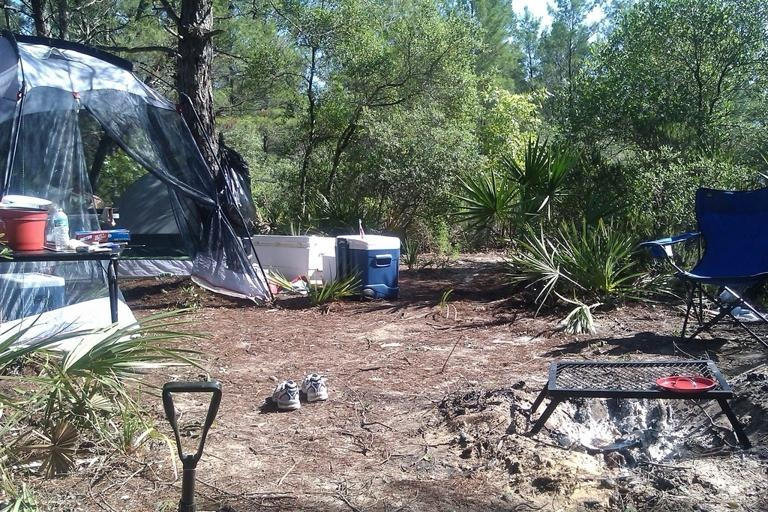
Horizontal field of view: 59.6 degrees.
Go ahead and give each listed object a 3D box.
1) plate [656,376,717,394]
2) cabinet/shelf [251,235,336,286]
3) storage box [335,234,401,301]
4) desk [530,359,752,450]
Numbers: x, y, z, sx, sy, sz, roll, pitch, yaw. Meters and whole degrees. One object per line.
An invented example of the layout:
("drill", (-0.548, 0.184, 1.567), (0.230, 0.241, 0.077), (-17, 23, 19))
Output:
("plate", (2.308, 0.982, 5.147), (0.375, 0.073, 0.318), (-4, 10, -39))
("cabinet/shelf", (-1.333, 0.022, 10.020), (0.921, 0.560, 0.911), (1, 2, 24))
("storage box", (-0.182, 0.144, 9.297), (0.998, 0.897, 0.774), (-3, 6, -27))
("desk", (1.998, 1.136, 5.415), (1.612, 0.582, 0.706), (3, 8, 7))
